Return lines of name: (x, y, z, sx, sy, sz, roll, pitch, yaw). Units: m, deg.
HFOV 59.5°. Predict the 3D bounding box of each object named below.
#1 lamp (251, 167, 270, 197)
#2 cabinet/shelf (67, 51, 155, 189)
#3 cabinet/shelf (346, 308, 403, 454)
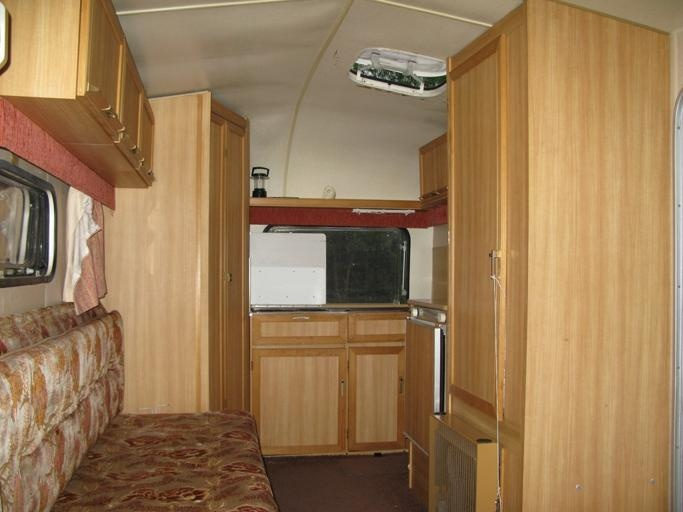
lamp: (-0.700, -0.651, 5.206, 0.161, 0.264, 0.375, -1, 10, -9)
cabinet/shelf: (-1.168, -0.691, 3.003, 0.214, 0.349, 0.698, 3, -15, -7)
cabinet/shelf: (0.281, 1.016, 4.866, 0.460, 1.093, 0.303, 1, 10, 2)
